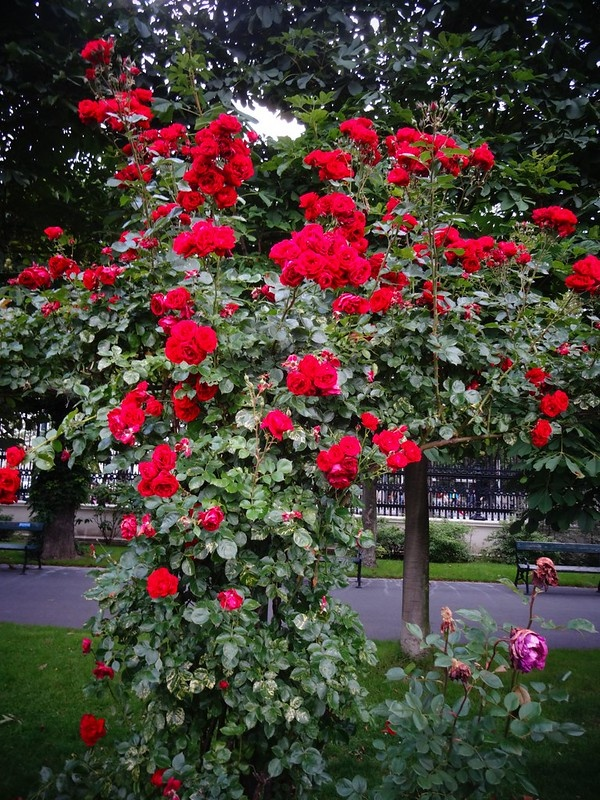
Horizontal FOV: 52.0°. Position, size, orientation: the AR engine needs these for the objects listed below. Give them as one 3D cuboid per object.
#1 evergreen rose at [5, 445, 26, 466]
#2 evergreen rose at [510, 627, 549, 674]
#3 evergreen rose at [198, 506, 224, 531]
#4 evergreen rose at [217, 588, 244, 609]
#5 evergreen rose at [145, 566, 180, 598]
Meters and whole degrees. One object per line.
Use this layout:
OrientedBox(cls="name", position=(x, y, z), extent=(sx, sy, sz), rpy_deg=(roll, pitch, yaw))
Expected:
OrientedBox(cls="evergreen rose", position=(-0.961, 0.196, 2.087), extent=(0.059, 0.070, 0.117), rpy_deg=(5, -7, -26))
OrientedBox(cls="evergreen rose", position=(0.607, 0.673, 1.652), extent=(0.067, 0.113, 0.099), rpy_deg=(8, -9, -44))
OrientedBox(cls="evergreen rose", position=(-0.261, 0.352, 1.822), extent=(0.076, 0.078, 0.116), rpy_deg=(2, -6, -8))
OrientedBox(cls="evergreen rose", position=(-0.208, 0.609, 1.865), extent=(0.077, 0.071, 0.068), rpy_deg=(2, -7, -6))
OrientedBox(cls="evergreen rose", position=(-0.412, 0.558, 1.875), extent=(0.074, 0.094, 0.072), rpy_deg=(-2, -7, 25))
